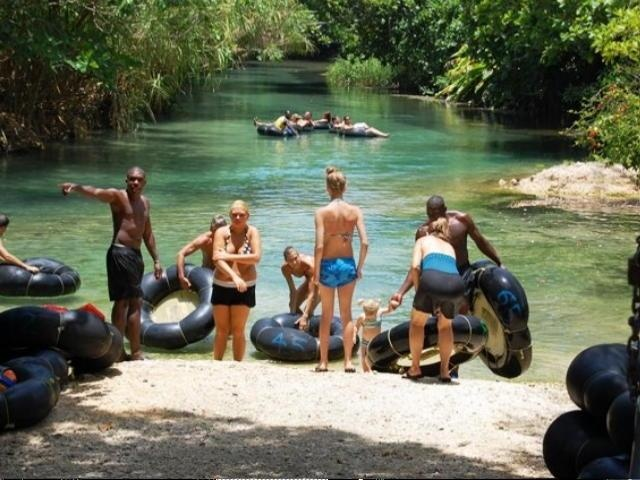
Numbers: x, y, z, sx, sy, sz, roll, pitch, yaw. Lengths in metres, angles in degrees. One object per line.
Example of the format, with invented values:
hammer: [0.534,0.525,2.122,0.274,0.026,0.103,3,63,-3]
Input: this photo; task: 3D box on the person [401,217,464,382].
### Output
person: [1.507,0.817,10.733,0.713,1.984,0.669,5,13,14]

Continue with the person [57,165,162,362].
person: [-2.672,0.355,11.433,0.608,2.605,1.229,9,15,32]

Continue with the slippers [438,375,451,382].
slippers: [1.634,1.803,10.714,0.112,0.122,0.071,0,3,6]

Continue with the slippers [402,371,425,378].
slippers: [1.202,1.793,10.826,0.237,0.101,0.098,4,7,20]
